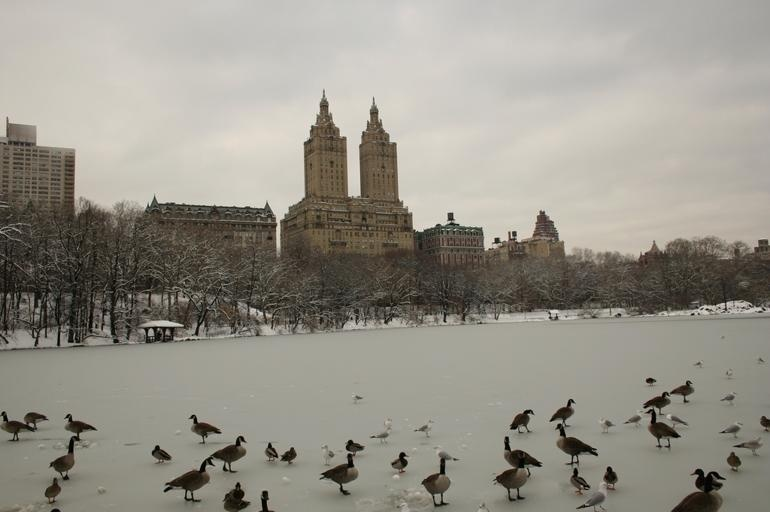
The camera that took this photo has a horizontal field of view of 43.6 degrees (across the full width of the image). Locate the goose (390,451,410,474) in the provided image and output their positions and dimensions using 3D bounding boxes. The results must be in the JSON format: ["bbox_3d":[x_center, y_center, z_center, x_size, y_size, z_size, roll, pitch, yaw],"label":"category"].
[{"bbox_3d":[0.957,12.971,61.190,1.026,1.235,0.973,-2,14,-1],"label":"goose"}]

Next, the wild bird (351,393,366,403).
[{"bbox_3d":[-1.918,10.102,70.125,0.850,0.775,2.059,-1,14,4],"label":"wild bird"}]

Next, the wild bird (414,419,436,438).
[{"bbox_3d":[2.622,11.435,64.418,0.987,0.767,1.351,-10,16,-30],"label":"wild bird"}]
